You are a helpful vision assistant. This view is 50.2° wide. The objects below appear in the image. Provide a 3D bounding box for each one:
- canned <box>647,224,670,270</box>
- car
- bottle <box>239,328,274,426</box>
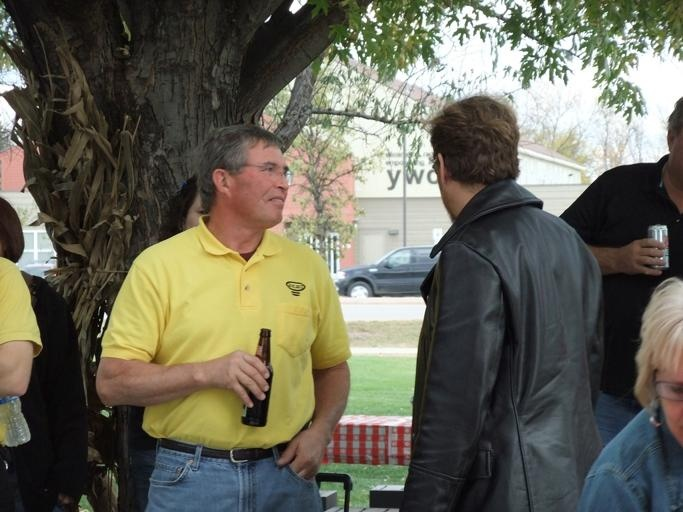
[{"bbox_3d":[1.676,-0.039,3.814,0.186,0.228,0.080,2,-1,-30],"label":"canned"},{"bbox_3d":[1.256,0.504,22.173,2.889,1.381,1.425,2,-4,6],"label":"car"},{"bbox_3d":[-0.361,0.534,3.148,0.134,0.432,0.180,1,-1,-6],"label":"bottle"}]
